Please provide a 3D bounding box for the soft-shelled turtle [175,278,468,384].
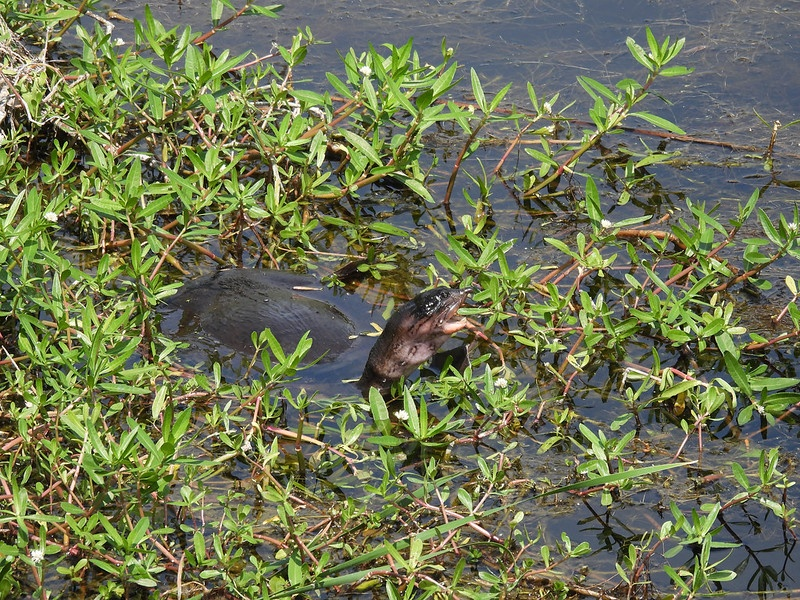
[{"bbox_3d":[-0.515,0.098,5.702,1.556,0.507,0.756,23,30,-4],"label":"soft-shelled turtle"}]
